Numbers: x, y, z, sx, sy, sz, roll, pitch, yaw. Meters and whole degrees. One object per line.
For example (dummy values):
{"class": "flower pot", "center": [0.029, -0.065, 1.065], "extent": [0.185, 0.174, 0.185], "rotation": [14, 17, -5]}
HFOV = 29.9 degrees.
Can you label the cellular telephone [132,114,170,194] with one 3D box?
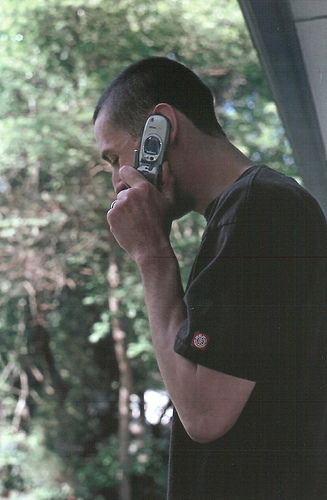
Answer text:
{"class": "cellular telephone", "center": [-0.030, -0.248, 1.576], "extent": [0.094, 0.169, 0.127], "rotation": [-1, 37, 3]}
